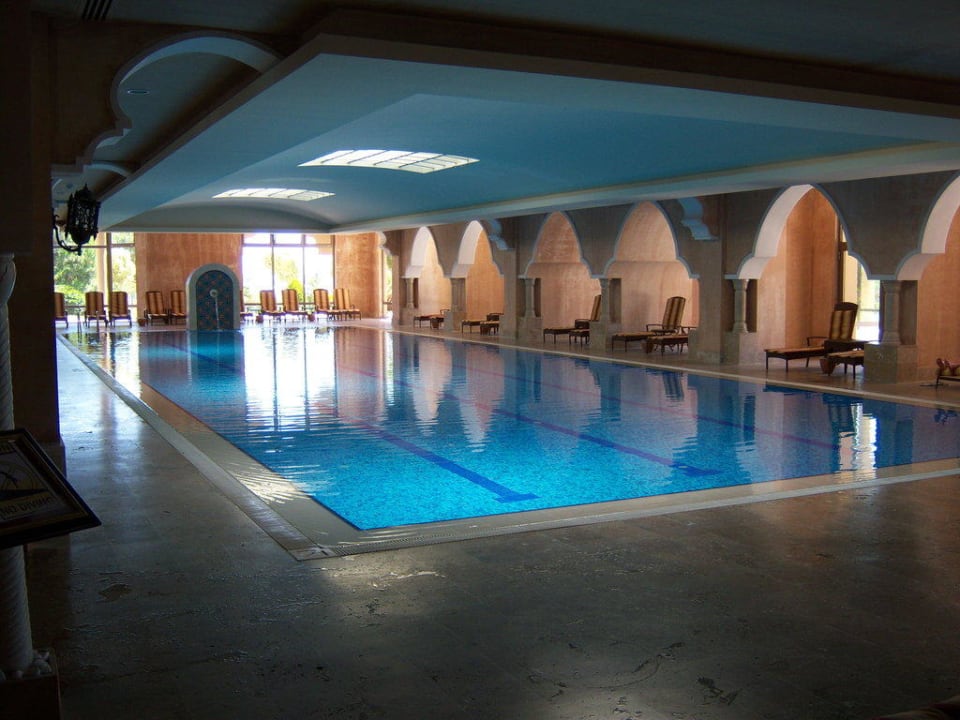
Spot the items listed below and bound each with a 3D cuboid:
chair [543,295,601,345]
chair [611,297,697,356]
[{"bbox_3d":[3.083,-1.422,21.330,1.706,1.640,3.350,0,8,6],"label":"chair"},{"bbox_3d":[5.530,-1.064,18.916,2.745,1.921,1.454,1,-1,-44],"label":"chair"}]
